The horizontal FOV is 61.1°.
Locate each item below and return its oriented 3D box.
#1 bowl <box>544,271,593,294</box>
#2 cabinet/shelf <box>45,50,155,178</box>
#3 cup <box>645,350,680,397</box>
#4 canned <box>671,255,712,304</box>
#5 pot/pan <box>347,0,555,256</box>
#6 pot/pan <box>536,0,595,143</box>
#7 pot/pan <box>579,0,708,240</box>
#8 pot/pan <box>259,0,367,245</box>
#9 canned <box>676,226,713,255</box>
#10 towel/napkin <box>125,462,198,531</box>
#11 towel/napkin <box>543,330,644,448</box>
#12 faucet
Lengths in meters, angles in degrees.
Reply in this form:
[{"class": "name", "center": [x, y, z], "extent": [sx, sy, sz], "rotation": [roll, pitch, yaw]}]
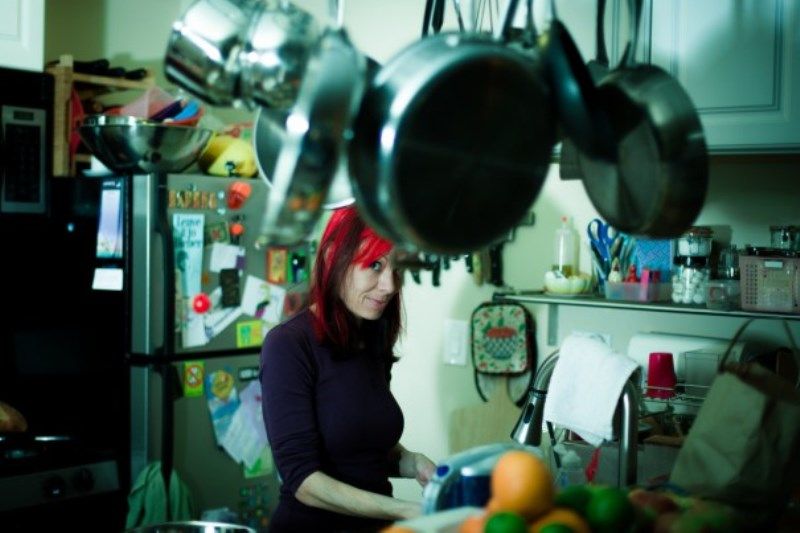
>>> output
[{"class": "bowl", "center": [0.587, 0.066, 2.395], "extent": [0.093, 0.046, 0.107], "rotation": [6, -8, -37]}, {"class": "cabinet/shelf", "center": [-1.328, -0.581, 2.899], "extent": [0.270, 0.578, 0.466], "rotation": [10, 13, 30]}, {"class": "cup", "center": [0.828, 0.344, 2.154], "extent": [0.102, 0.145, 0.104], "rotation": [2, -5, 0]}, {"class": "canned", "center": [0.966, 0.046, 2.212], "extent": [0.096, 0.161, 0.100], "rotation": [-2, 10, -44]}, {"class": "pot/pan", "center": [0.091, -0.212, 1.046], "extent": [0.325, 0.355, 0.123], "rotation": [-8, 15, -24]}, {"class": "pot/pan", "center": [0.262, -0.314, 1.098], "extent": [0.024, 0.185, 0.108], "rotation": [-11, -1, -6]}, {"class": "pot/pan", "center": [0.402, -0.240, 1.119], "extent": [0.177, 0.350, 0.049], "rotation": [4, 9, 41]}, {"class": "pot/pan", "center": [-0.121, -0.187, 0.983], "extent": [0.043, 0.287, 0.172], "rotation": [9, 4, 28]}, {"class": "canned", "center": [0.954, -0.085, 2.187], "extent": [0.096, 0.087, 0.079], "rotation": [6, -2, 4]}, {"class": "towel/napkin", "center": [-0.885, 0.832, 2.508], "extent": [0.232, 0.244, 0.130], "rotation": [4, 0, -23]}, {"class": "towel/napkin", "center": [0.521, 0.324, 1.814], "extent": [0.251, 0.262, 0.096], "rotation": [25, 6, 41]}, {"class": "faucet", "center": [0.453, 0.359, 1.680], "extent": [0.314, 0.305, 0.307], "rotation": [4, 0, 30]}]
